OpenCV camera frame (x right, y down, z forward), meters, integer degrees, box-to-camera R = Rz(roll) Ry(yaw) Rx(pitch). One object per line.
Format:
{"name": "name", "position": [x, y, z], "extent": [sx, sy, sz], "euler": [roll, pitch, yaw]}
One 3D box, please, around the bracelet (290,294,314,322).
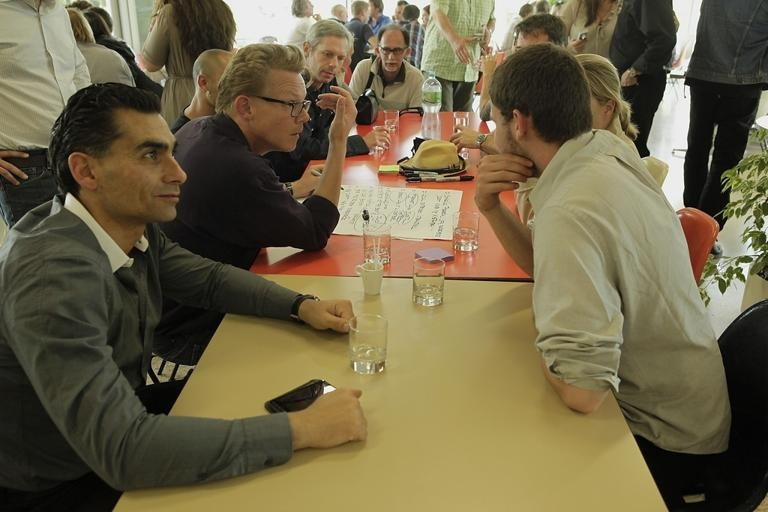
{"name": "bracelet", "position": [-0.278, 0.183, 1.969], "extent": [0.074, 0.087, 0.030], "euler": [2, -11, -7]}

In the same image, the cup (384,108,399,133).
{"name": "cup", "position": [0.059, -0.976, 4.116], "extent": [0.131, 0.164, 0.142], "euler": [-2, 24, 1]}

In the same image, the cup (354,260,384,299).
{"name": "cup", "position": [-0.040, 0.083, 2.149], "extent": [0.082, 0.114, 0.121], "euler": [-20, 20, -41]}

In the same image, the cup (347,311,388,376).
{"name": "cup", "position": [-0.026, 0.281, 1.828], "extent": [0.139, 0.174, 0.158], "euler": [5, 31, 7]}

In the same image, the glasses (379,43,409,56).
{"name": "glasses", "position": [0.086, -1.696, 4.732], "extent": [0.224, 0.068, 0.151], "euler": [0, 17, -4]}

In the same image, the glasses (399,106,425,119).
{"name": "glasses", "position": [0.229, -1.214, 4.819], "extent": [0.164, 0.105, 0.162], "euler": [4, -18, 5]}

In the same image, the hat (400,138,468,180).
{"name": "hat", "position": [0.280, -0.517, 3.170], "extent": [0.285, 0.109, 0.264], "euler": [-7, 32, -9]}
